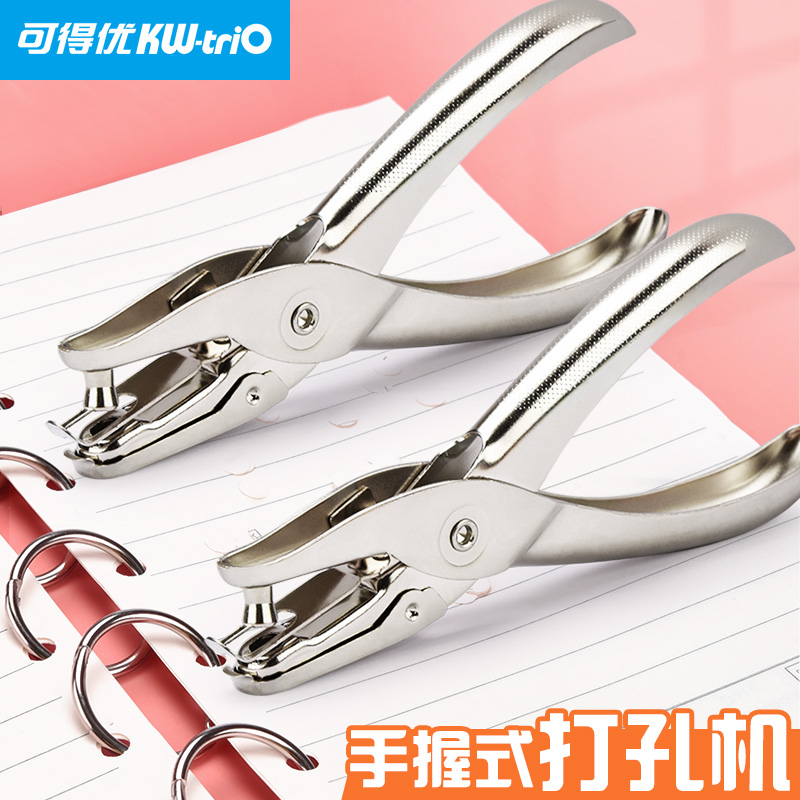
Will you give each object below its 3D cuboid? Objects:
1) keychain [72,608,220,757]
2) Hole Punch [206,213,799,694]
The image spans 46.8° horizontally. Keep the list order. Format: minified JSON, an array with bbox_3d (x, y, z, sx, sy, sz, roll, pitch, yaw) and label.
[{"bbox_3d":[-0.094,0.104,0.339,0.028,0.060,0.046,-25,-45,25],"label":"keychain"},{"bbox_3d":[0.068,0.000,0.440,0.330,0.120,0.129,-18,-48,-21],"label":"Hole Punch"}]
